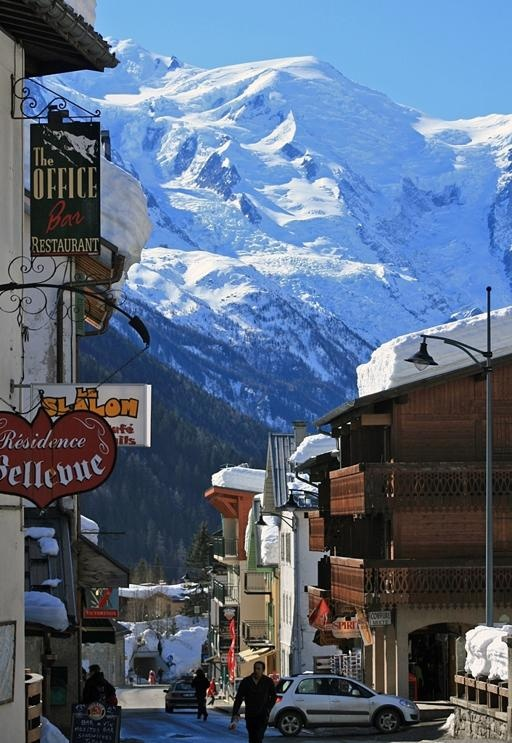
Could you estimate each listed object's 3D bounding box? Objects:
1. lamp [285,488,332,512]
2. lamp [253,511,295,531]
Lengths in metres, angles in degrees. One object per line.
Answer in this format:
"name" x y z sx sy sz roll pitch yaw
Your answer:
"lamp" 1.658 4.062 58.427 1.446 0.881 0.531 6 -5 -3
"lamp" 0.541 4.895 62.179 1.464 0.832 0.647 7 -11 -8
